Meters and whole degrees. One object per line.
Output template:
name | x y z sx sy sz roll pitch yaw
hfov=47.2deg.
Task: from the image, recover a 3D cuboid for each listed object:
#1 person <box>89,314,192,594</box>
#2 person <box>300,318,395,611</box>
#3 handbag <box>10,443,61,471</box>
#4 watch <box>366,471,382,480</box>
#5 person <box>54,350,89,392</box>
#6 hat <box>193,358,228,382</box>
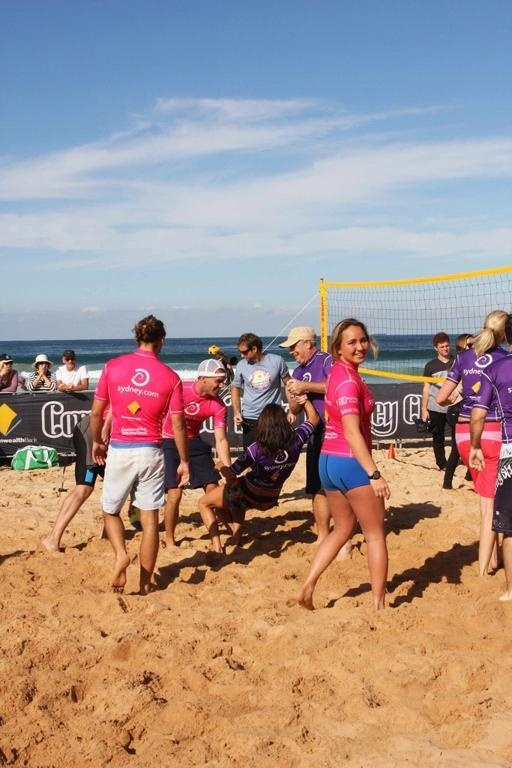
person | -0.688 0.476 3.557 0.559 1.747 0.873 -1 1 -22
person | 0.503 0.473 3.098 0.484 1.645 0.655 -1 1 -9
handbag | -3.106 1.053 8.218 0.528 0.315 0.315 1 -14 -31
watch | 0.580 0.433 2.816 0.049 0.029 0.048 -3 -1 -1
person | -2.726 -0.201 8.645 0.417 0.617 0.812 -1 1 -21
hat | -0.315 -0.097 4.275 0.141 0.106 0.180 -5 20 -44
